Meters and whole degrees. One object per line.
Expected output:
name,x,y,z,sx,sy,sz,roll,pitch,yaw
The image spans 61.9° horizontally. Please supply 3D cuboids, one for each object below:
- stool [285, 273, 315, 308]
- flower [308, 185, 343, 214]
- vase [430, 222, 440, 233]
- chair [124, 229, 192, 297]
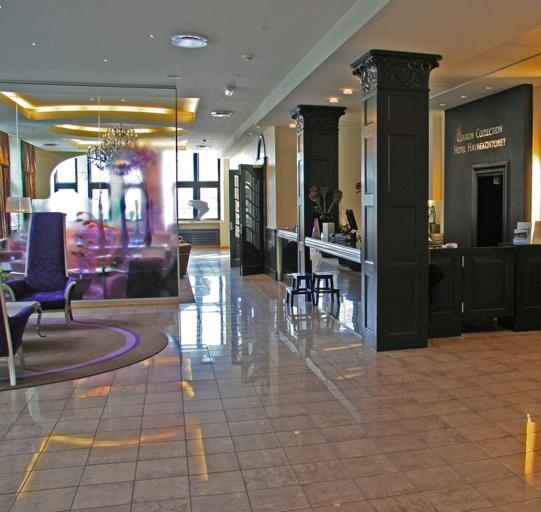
stool,0.467,0.565,7.750,0.529,0.480,0.509,0,-3,-10
flower,0.970,-1.014,8.138,0.535,0.496,0.551,0,-3,12
vase,3.156,-0.543,8.799,0.159,0.189,0.299,2,3,45
chair,-2.012,0.207,8.058,1.114,1.015,0.925,0,4,-1
